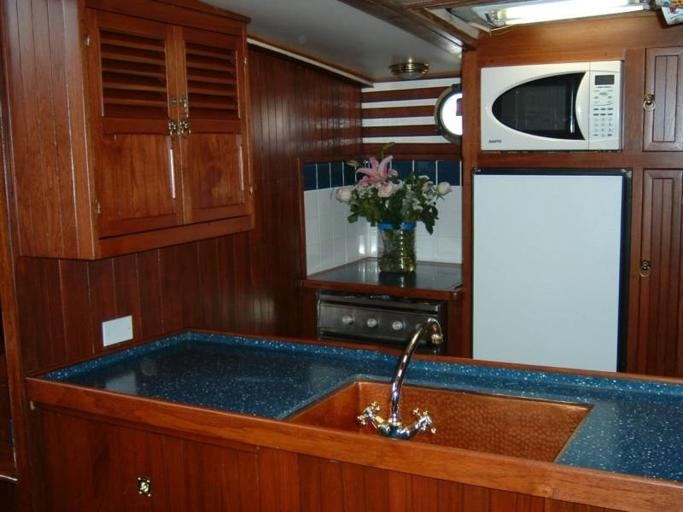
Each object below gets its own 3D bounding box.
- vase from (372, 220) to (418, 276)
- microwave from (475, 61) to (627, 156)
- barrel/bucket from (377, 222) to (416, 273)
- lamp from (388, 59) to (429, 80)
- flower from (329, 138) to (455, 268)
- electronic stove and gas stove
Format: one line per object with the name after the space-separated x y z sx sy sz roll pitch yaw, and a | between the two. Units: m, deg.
0.357 -0.045 3.662 0.299 0.330 0.299 1 5 12 | vase
1.099 -0.596 3.032 0.720 0.456 0.443 3 7 24 | microwave
0.394 -0.056 3.712 0.299 0.314 0.281 -1 5 0 | barrel/bucket
0.436 -1.191 3.650 0.216 0.092 0.218 -9 13 -37 | lamp
0.346 -0.291 3.822 0.720 0.737 0.585 -1 10 5 | flower
0.332 0.197 3.569 0.733 0.699 0.522 1 3 27 | electronic stove and gas stove
